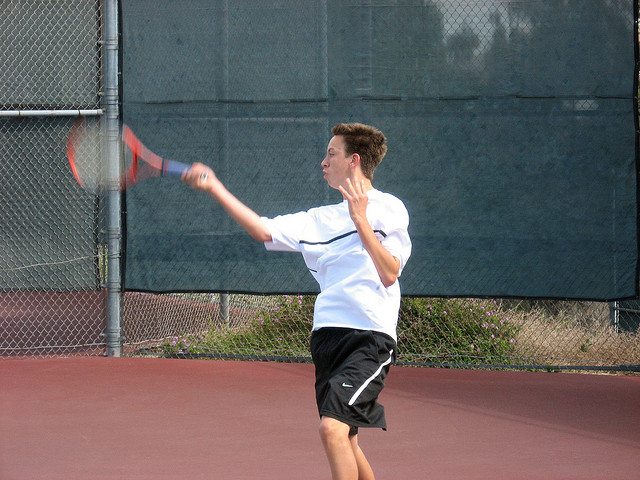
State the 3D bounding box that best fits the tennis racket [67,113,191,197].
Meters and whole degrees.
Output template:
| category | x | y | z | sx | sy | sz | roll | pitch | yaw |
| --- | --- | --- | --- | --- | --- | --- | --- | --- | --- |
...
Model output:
| category | x | y | z | sx | sy | sz | roll | pitch | yaw |
| --- | --- | --- | --- | --- | --- | --- | --- | --- | --- |
| tennis racket | -1.559 | -0.617 | 7.893 | 1.563 | 0.720 | 0.266 | 12 | 8 | 26 |
